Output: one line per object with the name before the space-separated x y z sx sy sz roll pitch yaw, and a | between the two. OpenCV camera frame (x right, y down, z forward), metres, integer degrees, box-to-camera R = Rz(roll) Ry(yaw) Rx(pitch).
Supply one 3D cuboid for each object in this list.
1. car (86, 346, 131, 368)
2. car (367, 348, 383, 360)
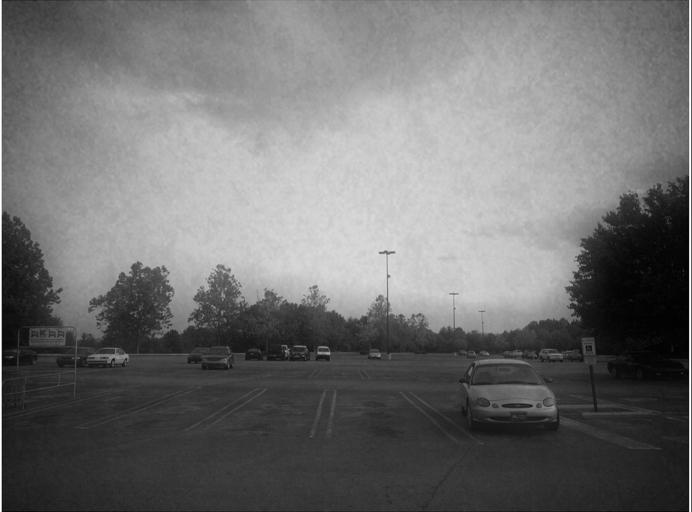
car | -18.635 8.033 44.408 1.566 1.311 2.688 -2 -18 6
car | 3.577 12.558 71.586 1.067 1.101 2.098 -1 -18 0
